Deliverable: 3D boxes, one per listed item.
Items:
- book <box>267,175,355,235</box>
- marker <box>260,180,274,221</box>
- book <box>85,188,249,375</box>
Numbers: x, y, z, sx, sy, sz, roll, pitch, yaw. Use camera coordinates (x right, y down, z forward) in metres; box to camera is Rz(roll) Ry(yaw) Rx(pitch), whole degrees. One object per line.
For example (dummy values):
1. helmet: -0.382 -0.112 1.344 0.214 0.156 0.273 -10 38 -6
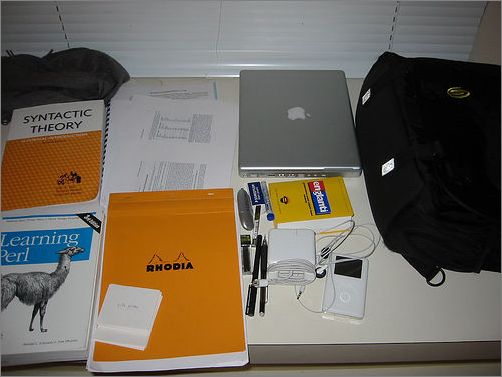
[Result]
1. book: 0.158 0.044 1.100 0.244 0.179 0.059 -11 -43 -9
2. marker: 0.045 0.031 1.090 0.025 0.111 0.026 -12 -24 -4
3. book: -0.207 0.226 0.976 0.328 0.416 0.097 -3 -25 -3
